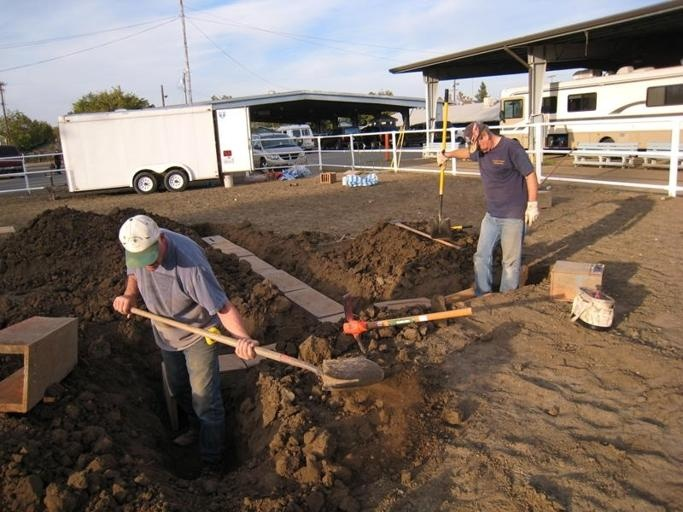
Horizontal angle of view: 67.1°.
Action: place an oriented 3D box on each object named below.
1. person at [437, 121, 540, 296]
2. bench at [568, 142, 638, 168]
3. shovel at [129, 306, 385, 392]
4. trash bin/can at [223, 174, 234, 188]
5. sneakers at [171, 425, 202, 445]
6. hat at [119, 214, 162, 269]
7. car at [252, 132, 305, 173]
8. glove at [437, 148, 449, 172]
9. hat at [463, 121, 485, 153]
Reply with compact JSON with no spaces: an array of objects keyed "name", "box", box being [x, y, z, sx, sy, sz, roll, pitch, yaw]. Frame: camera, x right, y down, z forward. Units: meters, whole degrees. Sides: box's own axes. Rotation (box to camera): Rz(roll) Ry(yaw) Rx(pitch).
[{"name":"person","box":[1.889,-0.557,6.079,0.794,2.024,0.475,1,14,20]},{"name":"bench","box":[8.101,-3.082,15.842,1.018,0.741,2.303,-8,14,-15]},{"name":"shovel","box":[-0.570,0.808,4.606,1.857,0.698,0.647,-4,13,-1]},{"name":"trash bin/can","box":[-3.703,-2.468,16.877,0.303,0.438,0.950,-8,14,-14]},{"name":"sneakers","box":[-1.545,1.781,5.155,0.182,0.070,0.138,0,11,-33]},{"name":"hat","box":[-1.720,-0.150,4.328,0.339,0.260,0.539,-38,0,-27]},{"name":"car","box":[-2.890,-4.406,21.574,1.403,1.099,2.590,-6,9,-23]},{"name":"glove","box":[1.375,-1.296,6.989,0.141,0.340,0.333,-6,-31,11]},{"name":"hat","box":[1.578,-1.389,6.043,0.269,0.351,0.301,4,16,32]}]
